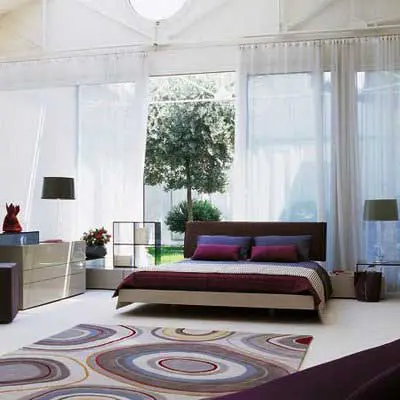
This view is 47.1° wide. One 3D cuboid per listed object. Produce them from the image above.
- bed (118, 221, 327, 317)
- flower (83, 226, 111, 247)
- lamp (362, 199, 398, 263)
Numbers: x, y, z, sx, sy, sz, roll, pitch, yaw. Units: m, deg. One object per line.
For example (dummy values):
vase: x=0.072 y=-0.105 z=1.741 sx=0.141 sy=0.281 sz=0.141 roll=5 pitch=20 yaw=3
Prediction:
bed: x=0.413 y=0.742 z=5.527 sx=2.110 sy=0.935 sz=2.135 roll=0 pitch=-2 yaw=16
flower: x=-1.541 y=0.542 z=6.841 sx=0.291 sy=0.256 sz=0.296 roll=2 pitch=-4 yaw=-8
lamp: x=2.361 y=0.392 z=5.992 sx=0.441 sy=0.830 sz=0.450 roll=0 pitch=-2 yaw=19
